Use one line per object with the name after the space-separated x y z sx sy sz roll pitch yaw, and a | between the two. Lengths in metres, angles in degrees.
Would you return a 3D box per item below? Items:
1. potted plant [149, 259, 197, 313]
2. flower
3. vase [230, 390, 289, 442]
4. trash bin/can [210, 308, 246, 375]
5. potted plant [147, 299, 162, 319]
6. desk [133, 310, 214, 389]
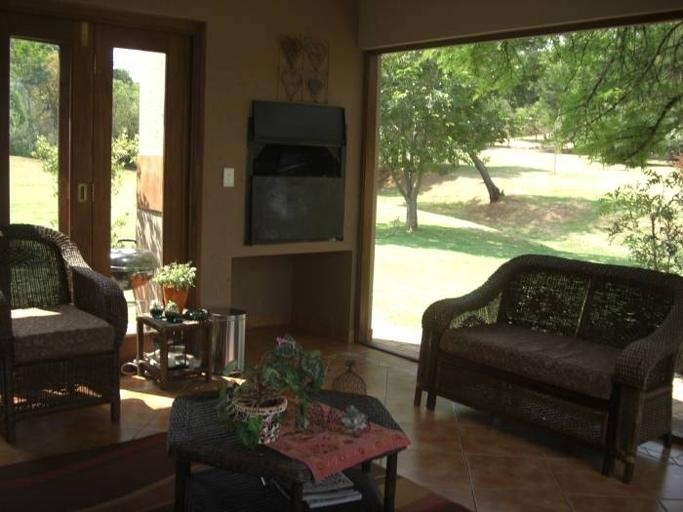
-1.397 0.287 4.742 0.262 0.352 0.322 0 -4 19 | potted plant
-0.327 0.673 2.818 0.427 0.546 0.400 1 5 -2 | flower
-0.401 0.760 2.697 0.216 0.164 0.225 2 2 4 | vase
-1.011 0.763 4.951 0.345 0.589 0.350 -1 8 -32 | trash bin/can
-1.529 0.442 4.660 0.133 0.197 0.137 -4 7 -17 | potted plant
-1.396 0.718 4.751 0.572 0.637 0.574 0 3 -36 | desk
